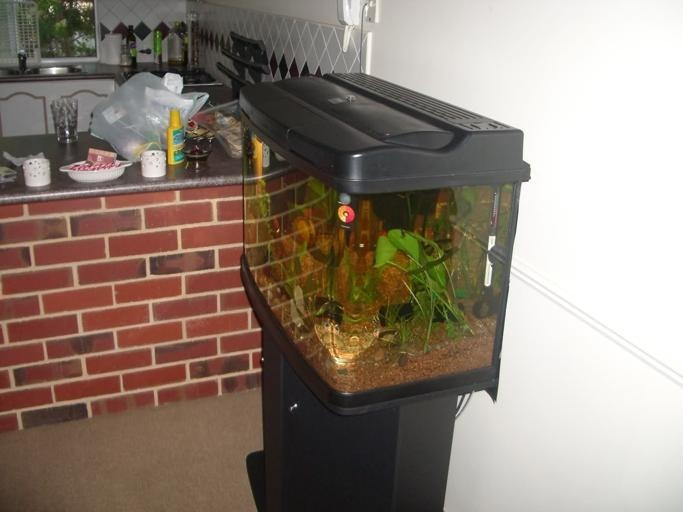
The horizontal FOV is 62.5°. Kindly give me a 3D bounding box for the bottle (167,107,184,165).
[{"bbox_3d":[-0.731,-0.524,2.439,0.075,0.228,0.130,-4,20,-15],"label":"bottle"}]

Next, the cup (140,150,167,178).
[{"bbox_3d":[-0.779,-0.382,2.308,0.102,0.102,0.113,-6,22,-19],"label":"cup"}]

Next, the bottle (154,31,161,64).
[{"bbox_3d":[-1.570,-1.777,4.767,0.072,0.251,0.234,-5,21,-17],"label":"bottle"}]

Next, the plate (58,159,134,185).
[{"bbox_3d":[-1.005,-0.348,2.281,0.280,0.057,0.209,-8,24,-23],"label":"plate"}]

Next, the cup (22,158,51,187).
[{"bbox_3d":[-1.192,-0.327,2.179,0.092,0.100,0.125,-14,26,-36],"label":"cup"}]

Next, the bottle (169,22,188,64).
[{"bbox_3d":[-1.364,-1.757,4.660,0.166,0.343,0.181,8,33,-5],"label":"bottle"}]

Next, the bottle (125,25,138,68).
[{"bbox_3d":[-1.802,-1.796,4.773,0.082,0.313,0.205,-6,21,-20],"label":"bottle"}]

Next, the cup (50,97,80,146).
[{"bbox_3d":[-1.311,-0.644,2.650,0.107,0.202,0.156,-8,22,-25],"label":"cup"}]

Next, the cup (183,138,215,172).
[{"bbox_3d":[-0.632,-0.439,2.461,0.108,0.130,0.118,7,34,-5],"label":"cup"}]
